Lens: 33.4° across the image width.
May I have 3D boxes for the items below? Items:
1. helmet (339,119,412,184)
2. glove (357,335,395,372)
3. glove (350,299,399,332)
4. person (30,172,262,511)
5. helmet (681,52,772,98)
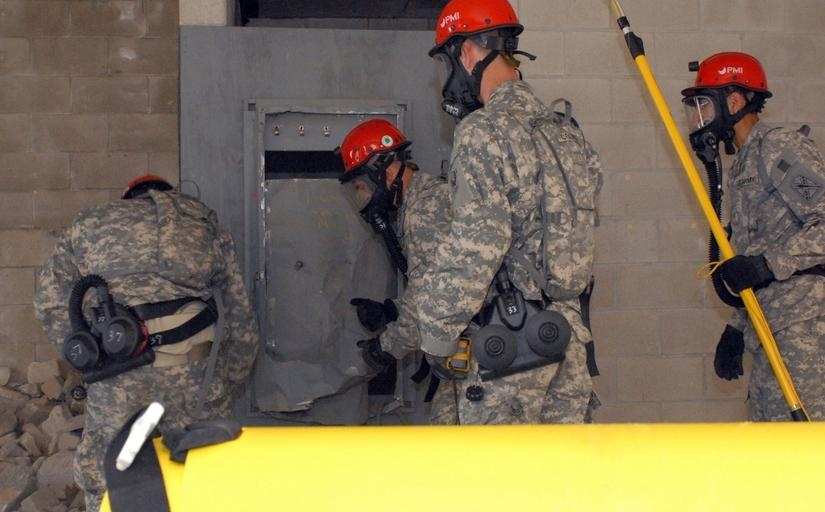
[{"bbox_3d":[-0.297,-0.760,9.267,0.538,0.323,0.431,-23,2,4],"label":"helmet"},{"bbox_3d":[-0.243,0.639,8.906,0.200,0.271,0.099,-32,-13,-15],"label":"glove"},{"bbox_3d":[-0.253,0.373,9.078,0.246,0.242,0.089,-4,-33,-12],"label":"glove"},{"bbox_3d":[-1.656,0.554,8.651,1.372,1.995,0.429,-1,2,-16],"label":"person"},{"bbox_3d":[2.061,-1.221,9.086,0.584,0.280,0.424,1,5,8],"label":"helmet"}]
